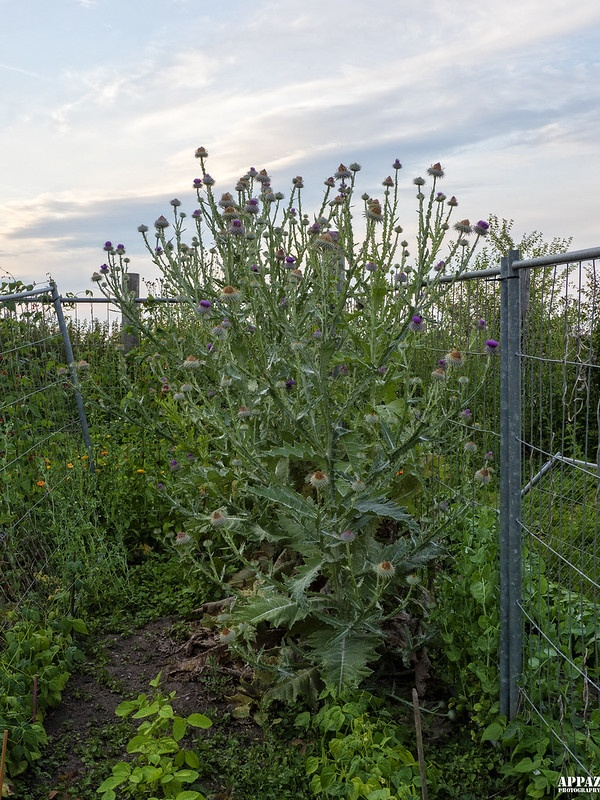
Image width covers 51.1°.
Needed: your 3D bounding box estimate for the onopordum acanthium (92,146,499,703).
[{"bbox_3d":[-0.008,-0.029,3.139,1.412,2.767,2.348,-9,11,-13],"label":"onopordum acanthium"}]
